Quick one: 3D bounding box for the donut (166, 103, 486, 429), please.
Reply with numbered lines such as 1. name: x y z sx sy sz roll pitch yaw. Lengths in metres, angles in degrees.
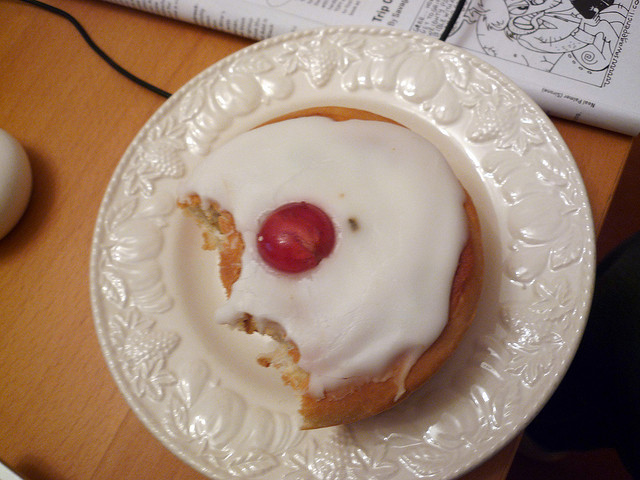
1. donut: 0.028 0.011 1.061 0.461 0.139 0.520 -33 85 -5
